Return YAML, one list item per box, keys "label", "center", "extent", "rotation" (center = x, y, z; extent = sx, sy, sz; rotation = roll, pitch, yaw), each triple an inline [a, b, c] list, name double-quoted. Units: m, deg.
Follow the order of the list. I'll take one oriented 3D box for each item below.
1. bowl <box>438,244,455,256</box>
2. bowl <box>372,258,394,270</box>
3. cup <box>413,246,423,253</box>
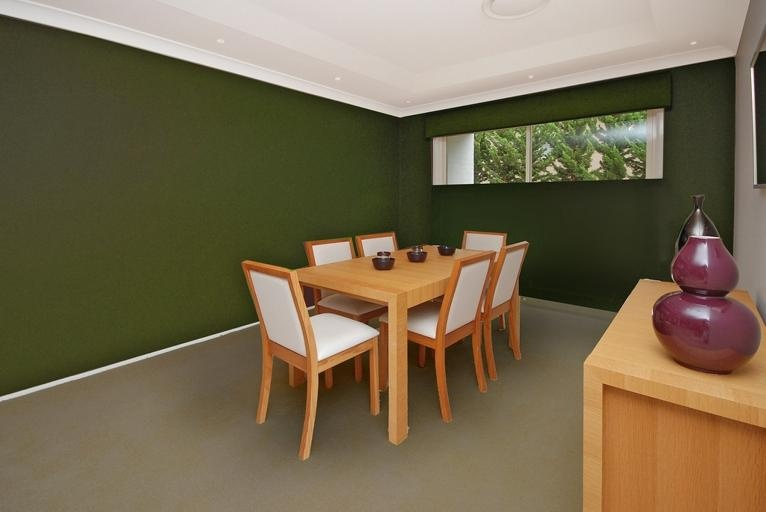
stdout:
- label: "bowl"
  center: [0.710, -0.059, 5.557]
  extent: [0.152, 0.076, 0.126]
  rotation: [-3, 7, -41]
- label: "bowl"
  center: [0.002, 0.070, 4.863]
  extent: [0.132, 0.095, 0.139]
  rotation: [-2, 6, 0]
- label: "cup"
  center: [0.367, -0.068, 5.364]
  extent: [0.095, 0.099, 0.101]
  rotation: [-1, 4, 0]
